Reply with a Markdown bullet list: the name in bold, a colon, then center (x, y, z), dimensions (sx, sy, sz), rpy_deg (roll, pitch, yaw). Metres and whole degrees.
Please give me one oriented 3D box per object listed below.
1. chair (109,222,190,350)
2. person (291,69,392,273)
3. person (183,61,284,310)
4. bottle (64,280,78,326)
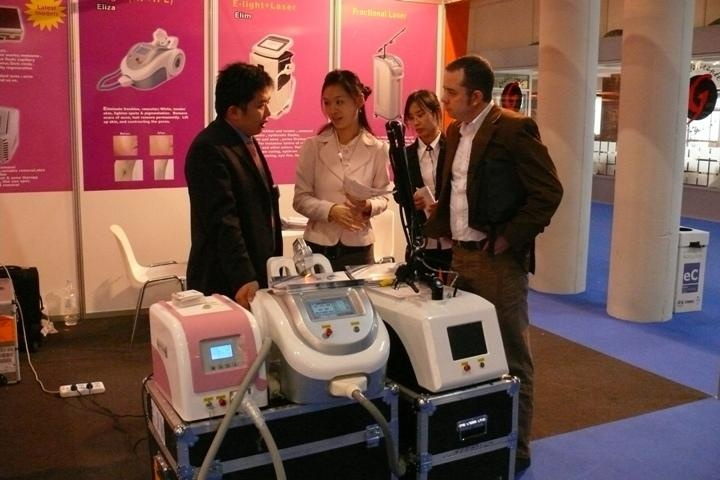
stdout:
- **chair**: center (-1.839, 0.349, 5.104), dimensions (0.684, 0.969, 0.586), rpy_deg (-4, 14, -8)
- **person**: center (-0.136, -0.425, 3.522), dimensions (0.629, 1.279, 0.639), rpy_deg (1, 12, 1)
- **person**: center (-0.610, -0.300, 2.912), dimensions (0.499, 1.233, 0.516), rpy_deg (8, 14, 34)
- **bottle**: center (-2.849, 0.623, 5.443), dimensions (0.172, 0.432, 0.175), rpy_deg (-2, -1, 0)
